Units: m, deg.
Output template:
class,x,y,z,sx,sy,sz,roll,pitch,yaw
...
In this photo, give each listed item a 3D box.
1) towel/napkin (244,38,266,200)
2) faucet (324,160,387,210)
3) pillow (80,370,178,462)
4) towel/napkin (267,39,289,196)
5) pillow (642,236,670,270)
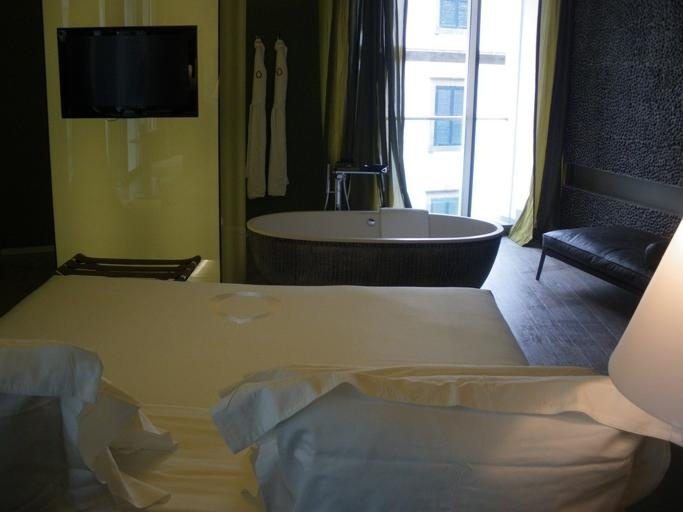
class,x,y,z,sx,sy,sz,roll,pitch,yaw
towel/napkin,-0.704,-1.101,4.586,0.166,1.253,0.309,-1,16,-9
faucet,0.139,-0.642,5.023,0.371,0.406,0.164,-2,17,-7
pillow,-0.573,0.477,1.624,0.250,0.399,0.173,13,44,-5
towel/napkin,-0.546,-1.142,4.719,0.162,1.253,0.336,-1,16,-9
pillow,1.728,-0.017,3.107,0.197,0.084,0.132,-26,26,-36
